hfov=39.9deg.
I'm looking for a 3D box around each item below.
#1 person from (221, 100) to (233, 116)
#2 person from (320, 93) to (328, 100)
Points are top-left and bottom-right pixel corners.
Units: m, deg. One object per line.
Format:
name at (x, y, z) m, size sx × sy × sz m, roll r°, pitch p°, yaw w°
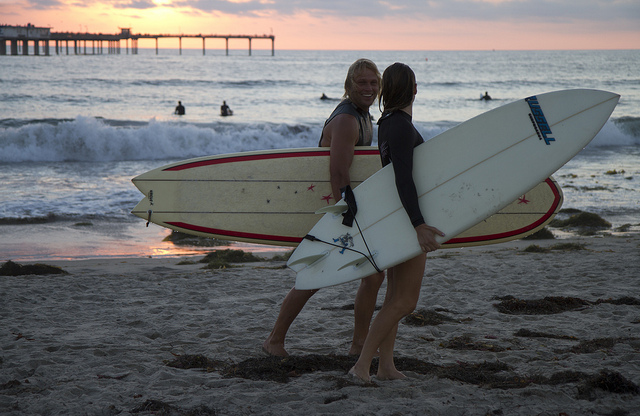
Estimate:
person at (-3.488, -3.783, 32.936) m, size 0.399 × 0.461 × 0.910 m, roll 2°, pitch 14°, yaw -3°
person at (0.199, -5.126, 40.141) m, size 0.358 × 0.179 × 0.982 m, roll 2°, pitch 22°, yaw -1°
